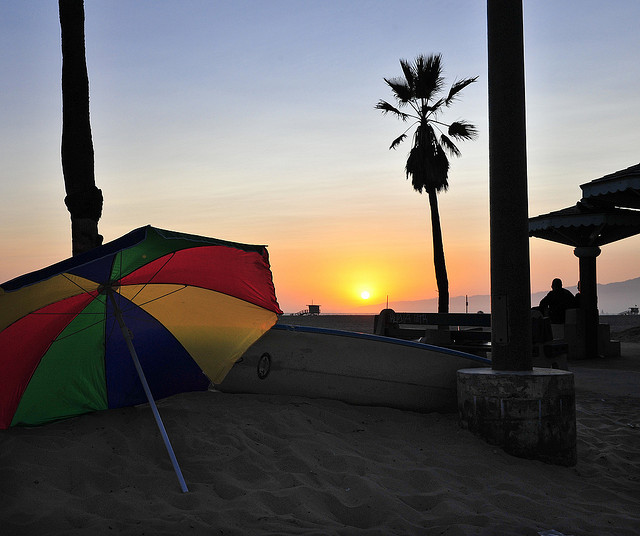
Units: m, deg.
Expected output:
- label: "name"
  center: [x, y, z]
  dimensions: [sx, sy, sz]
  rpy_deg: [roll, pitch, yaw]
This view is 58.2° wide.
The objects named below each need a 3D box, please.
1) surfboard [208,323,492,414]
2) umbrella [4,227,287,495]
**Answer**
- label: "surfboard"
  center: [0.256, 1.159, 6.402]
  dimensions: [3.415, 0.732, 0.757]
  rpy_deg: [4, 14, 6]
- label: "umbrella"
  center: [-1.685, 0.479, 5.143]
  dimensions: [2.307, 2.110, 1.442]
  rpy_deg: [-18, 40, -32]
